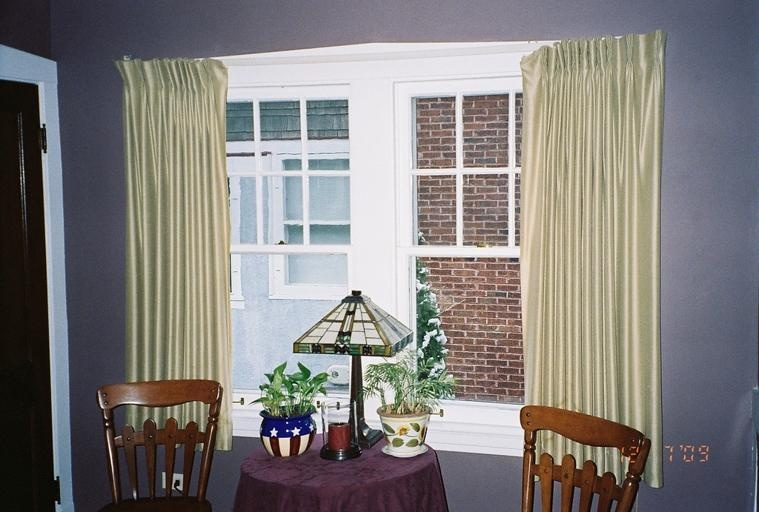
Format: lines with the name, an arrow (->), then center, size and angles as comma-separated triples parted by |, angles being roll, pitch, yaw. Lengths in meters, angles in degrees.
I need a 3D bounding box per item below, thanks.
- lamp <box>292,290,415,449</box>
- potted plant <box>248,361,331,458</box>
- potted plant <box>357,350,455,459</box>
lamp -> -0.128, 0.603, 3.737 | 0.583, 0.825, 0.330 | 0, 3, 4
potted plant -> -0.479, 0.776, 3.911 | 0.486, 0.525, 0.431 | 1, 0, -8
potted plant -> 0.111, 0.761, 3.942 | 0.557, 0.571, 0.485 | 1, -5, -19
